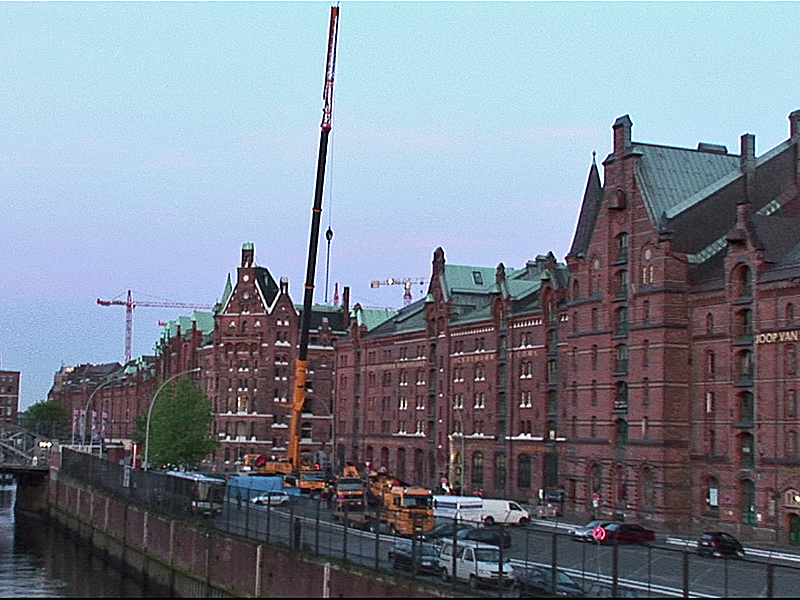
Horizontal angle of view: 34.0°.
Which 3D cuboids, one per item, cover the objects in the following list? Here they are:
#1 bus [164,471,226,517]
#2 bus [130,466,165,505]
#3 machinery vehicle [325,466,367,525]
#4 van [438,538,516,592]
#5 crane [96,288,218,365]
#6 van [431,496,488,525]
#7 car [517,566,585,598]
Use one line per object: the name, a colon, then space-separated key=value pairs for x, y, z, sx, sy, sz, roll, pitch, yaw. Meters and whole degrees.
bus: x=-13.880 y=13.648 z=91.767 sx=2.833 sy=3.031 sz=10.273 roll=2 pitch=-6 yaw=-27
bus: x=-19.170 y=14.192 z=99.522 sx=0.397 sy=2.797 sz=9.755 roll=5 pitch=-12 yaw=-23
machinery vehicle: x=-3.731 y=14.823 z=98.817 sx=2.169 sy=2.874 sz=5.935 roll=0 pitch=-8 yaw=-8
van: x=4.077 y=14.467 z=71.168 sx=1.430 sy=2.642 sz=4.866 roll=8 pitch=-12 yaw=-39
crane: x=-30.504 y=5.834 z=184.801 sx=14.612 sy=10.603 sz=1.114 roll=3 pitch=-1 yaw=-29
van: x=4.518 y=16.315 z=101.614 sx=3.496 sy=2.159 sz=4.927 roll=-3 pitch=-11 yaw=20
car: x=7.912 y=15.110 z=69.885 sx=1.632 sy=1.191 sz=3.495 roll=2 pitch=-7 yaw=-35
